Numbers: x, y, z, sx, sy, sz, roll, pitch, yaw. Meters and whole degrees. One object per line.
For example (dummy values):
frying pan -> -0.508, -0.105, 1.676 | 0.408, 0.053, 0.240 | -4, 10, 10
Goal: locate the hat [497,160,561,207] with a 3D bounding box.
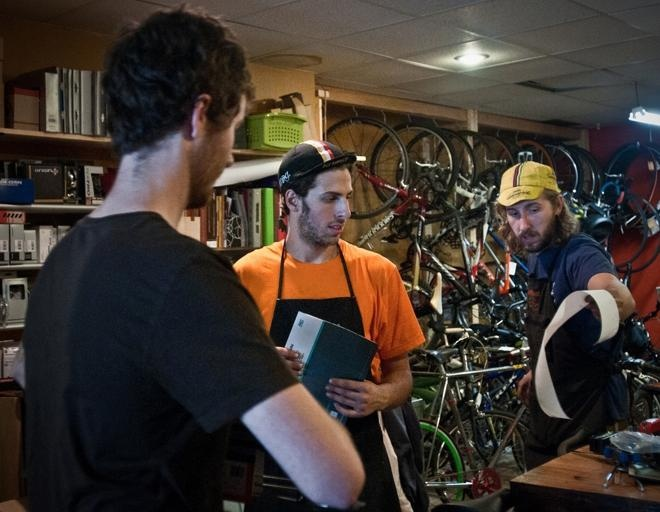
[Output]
hat -> 1.084, -0.389, 3.260 | 0.221, 0.172, 0.318 | -4, 8, 44

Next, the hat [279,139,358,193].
hat -> -0.058, -0.313, 2.177 | 0.240, 0.134, 0.181 | -29, 2, 29

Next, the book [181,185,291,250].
book -> -0.719, -0.274, 4.515 | 0.645, 0.296, 0.527 | 2, 5, 18

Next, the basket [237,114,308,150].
basket -> -0.445, -0.944, 4.522 | 0.439, 0.253, 0.322 | -9, 10, -39

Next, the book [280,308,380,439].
book -> -0.007, 0.303, 1.698 | 0.290, 0.294, 0.078 | 29, 15, -20
